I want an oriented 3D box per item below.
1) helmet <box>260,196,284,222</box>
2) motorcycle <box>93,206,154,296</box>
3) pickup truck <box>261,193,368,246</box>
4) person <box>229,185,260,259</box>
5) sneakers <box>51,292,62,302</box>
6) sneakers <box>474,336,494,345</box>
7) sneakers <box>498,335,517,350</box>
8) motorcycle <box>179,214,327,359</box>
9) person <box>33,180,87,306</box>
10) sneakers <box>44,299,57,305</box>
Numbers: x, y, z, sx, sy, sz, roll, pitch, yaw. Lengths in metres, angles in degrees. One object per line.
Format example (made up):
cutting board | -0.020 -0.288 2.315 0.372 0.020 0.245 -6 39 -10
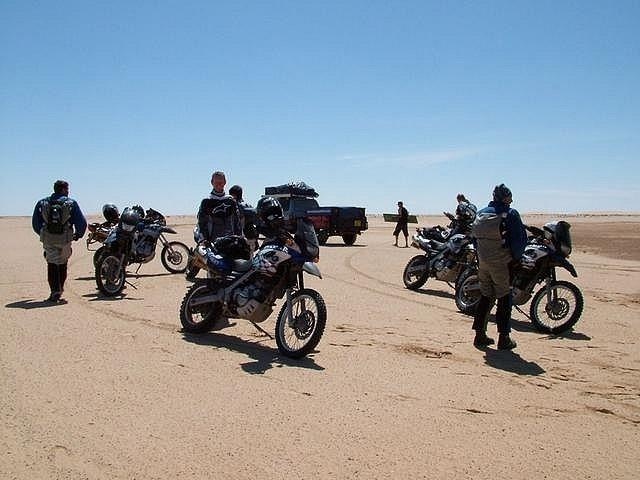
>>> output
helmet | -0.674 -0.407 6.552 0.407 0.312 0.295 7 8 39
motorcycle | -4.443 0.182 10.850 1.034 1.718 2.873 1 6 -16
pickup truck | 0.653 -1.067 25.153 4.414 1.897 2.721 7 7 35
person | -1.280 -0.181 7.741 0.365 1.306 0.421 1 -26 -25
sneakers | -4.968 1.075 8.898 0.183 0.202 0.524 2 -3 -35
sneakers | 2.439 1.506 7.089 0.332 0.134 0.123 -3 8 -33
sneakers | 2.765 1.502 6.976 0.363 0.240 0.143 -12 15 -40
motorcycle | -0.952 0.657 6.709 2.389 1.647 0.501 6 7 31
person | -5.098 0.019 9.266 0.929 2.293 1.127 -1 7 -27
sneakers | -4.975 1.137 8.753 0.193 0.074 0.604 -1 7 -30
